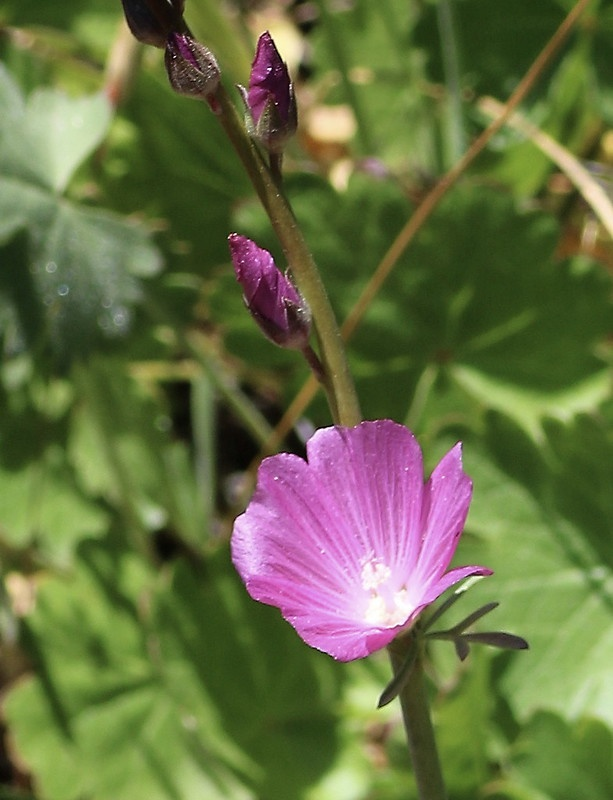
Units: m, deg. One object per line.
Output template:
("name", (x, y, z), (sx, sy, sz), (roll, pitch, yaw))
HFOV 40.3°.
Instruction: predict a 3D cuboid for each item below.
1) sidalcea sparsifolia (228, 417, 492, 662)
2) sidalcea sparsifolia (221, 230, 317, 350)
("sidalcea sparsifolia", (0.029, 0.071, 0.391), (0.117, 0.088, 0.092), (-22, 40, -7))
("sidalcea sparsifolia", (-0.017, -0.053, 0.401), (0.028, 0.062, 0.033), (-20, 41, -1))
